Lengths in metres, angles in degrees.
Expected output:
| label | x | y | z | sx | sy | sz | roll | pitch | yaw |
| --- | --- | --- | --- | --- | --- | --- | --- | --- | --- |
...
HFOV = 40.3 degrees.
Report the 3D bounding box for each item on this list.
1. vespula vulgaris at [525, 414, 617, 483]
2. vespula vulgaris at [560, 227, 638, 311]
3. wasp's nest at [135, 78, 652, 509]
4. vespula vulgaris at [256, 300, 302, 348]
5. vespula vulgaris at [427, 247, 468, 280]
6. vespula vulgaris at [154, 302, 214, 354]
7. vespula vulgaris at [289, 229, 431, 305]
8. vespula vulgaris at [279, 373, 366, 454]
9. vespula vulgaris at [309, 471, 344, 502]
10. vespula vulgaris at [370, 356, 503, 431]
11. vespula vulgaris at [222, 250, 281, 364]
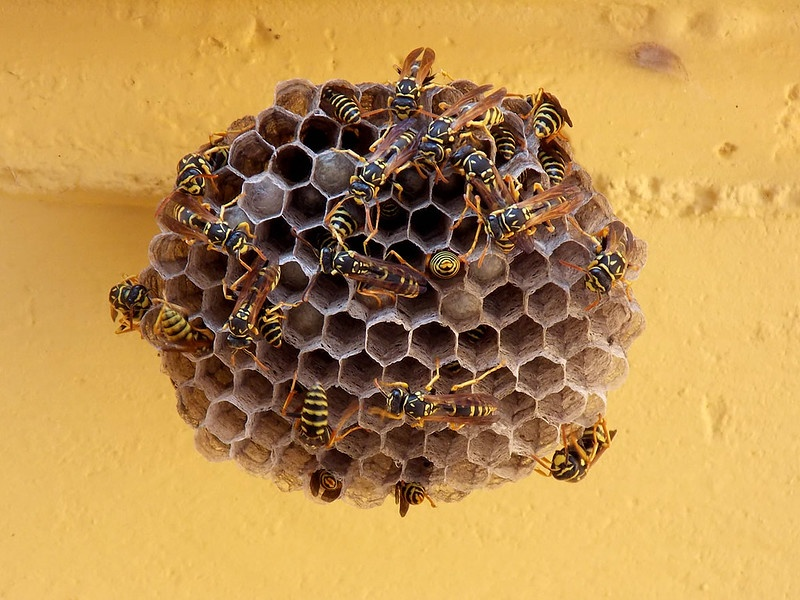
| label | x | y | z | sx | sy | sz | roll | pitch | yaw |
| --- | --- | --- | --- | --- | --- | --- | --- | --- | --- |
| vespula vulgaris | 0.685 | 0.593 | 4.376 | 0.351 | 0.115 | 0.227 | -33 | 103 | 4 |
| vespula vulgaris | 0.739 | -0.105 | 4.114 | 0.249 | 0.101 | 0.324 | 37 | 78 | -5 |
| wasp's nest | -0.117 | -0.027 | 4.264 | 2.377 | 0.633 | 1.791 | 2 | 94 | -1 |
| vespula vulgaris | -0.456 | 0.101 | 4.137 | 0.059 | 0.139 | 0.177 | 19 | 49 | -39 |
| vespula vulgaris | 0.171 | -0.131 | 4.098 | 0.131 | 0.157 | 0.118 | 39 | 85 | 5 |
| vespula vulgaris | -0.813 | 0.126 | 4.136 | 0.176 | 0.224 | 0.067 | -17 | 57 | 3 |
| vespula vulgaris | -0.110 | -0.119 | 4.206 | 0.402 | 0.123 | 0.260 | 21 | 103 | -1 |
| vespula vulgaris | -0.318 | 0.464 | 4.221 | 0.277 | 0.312 | 0.096 | 6 | 52 | 4 |
| vespula vulgaris | -0.296 | 0.754 | 4.331 | 0.136 | 0.137 | 0.115 | -10 | 91 | -2 |
| vespula vulgaris | 0.141 | 0.382 | 4.196 | 0.505 | 0.130 | 0.238 | 0 | 82 | 1 |
| vespula vulgaris | -0.551 | 0.019 | 4.206 | 0.269 | 0.111 | 0.330 | 24 | 100 | 10 |
